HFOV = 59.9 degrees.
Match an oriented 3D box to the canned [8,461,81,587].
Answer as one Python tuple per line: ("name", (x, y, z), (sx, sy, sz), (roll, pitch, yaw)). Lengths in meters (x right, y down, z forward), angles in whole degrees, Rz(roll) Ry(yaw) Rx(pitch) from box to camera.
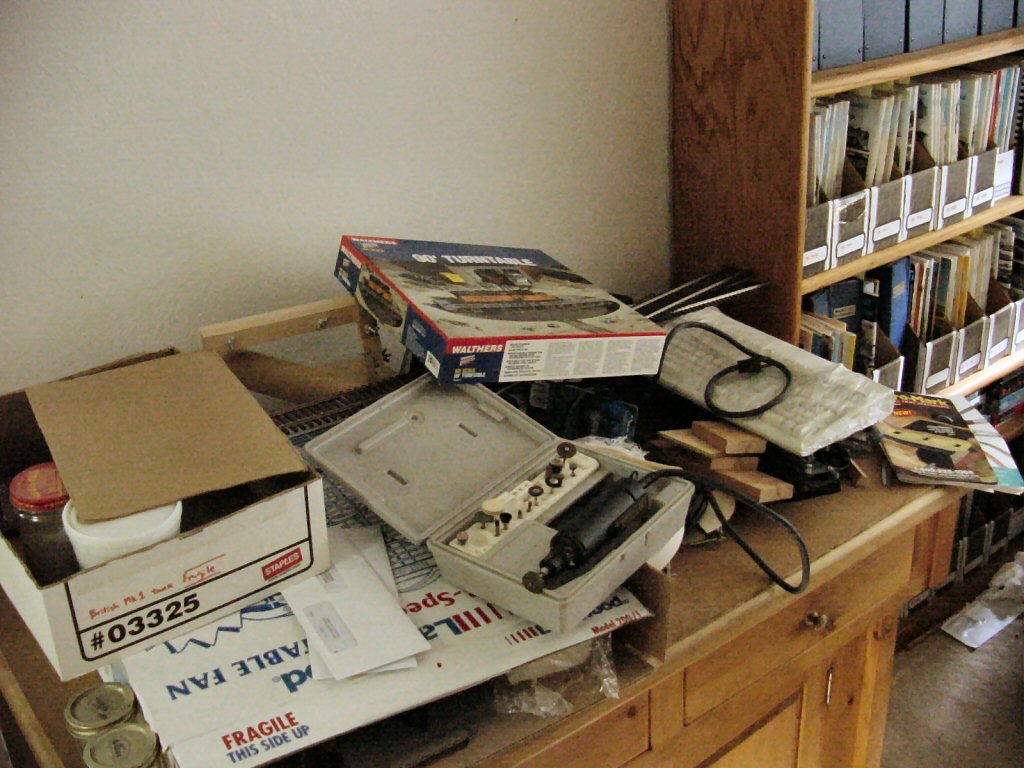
("canned", (-0.562, 0.163, 1.063), (0.082, 0.111, 0.105), (-27, 27, -23))
